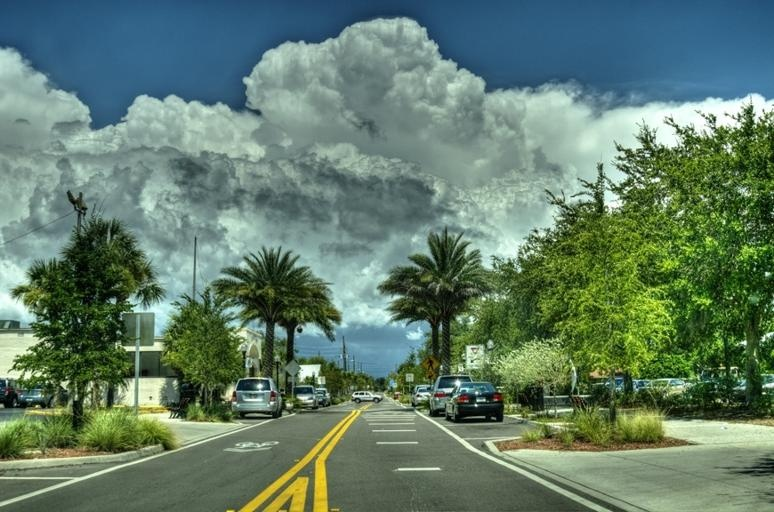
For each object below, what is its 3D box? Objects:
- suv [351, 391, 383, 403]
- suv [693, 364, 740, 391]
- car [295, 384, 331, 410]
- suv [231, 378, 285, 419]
[{"bbox_3d":[-2.119,14.836,100.148,2.851,1.338,1.486,-4,-6,8],"label":"suv"},{"bbox_3d":[16.993,6.260,49.130,2.421,1.435,1.597,-6,0,-9],"label":"suv"},{"bbox_3d":[-5.395,9.952,66.671,1.143,1.274,3.925,-2,-16,6],"label":"car"},{"bbox_3d":[-6.845,7.317,49.921,2.428,2.132,1.618,1,-15,-13],"label":"suv"}]
